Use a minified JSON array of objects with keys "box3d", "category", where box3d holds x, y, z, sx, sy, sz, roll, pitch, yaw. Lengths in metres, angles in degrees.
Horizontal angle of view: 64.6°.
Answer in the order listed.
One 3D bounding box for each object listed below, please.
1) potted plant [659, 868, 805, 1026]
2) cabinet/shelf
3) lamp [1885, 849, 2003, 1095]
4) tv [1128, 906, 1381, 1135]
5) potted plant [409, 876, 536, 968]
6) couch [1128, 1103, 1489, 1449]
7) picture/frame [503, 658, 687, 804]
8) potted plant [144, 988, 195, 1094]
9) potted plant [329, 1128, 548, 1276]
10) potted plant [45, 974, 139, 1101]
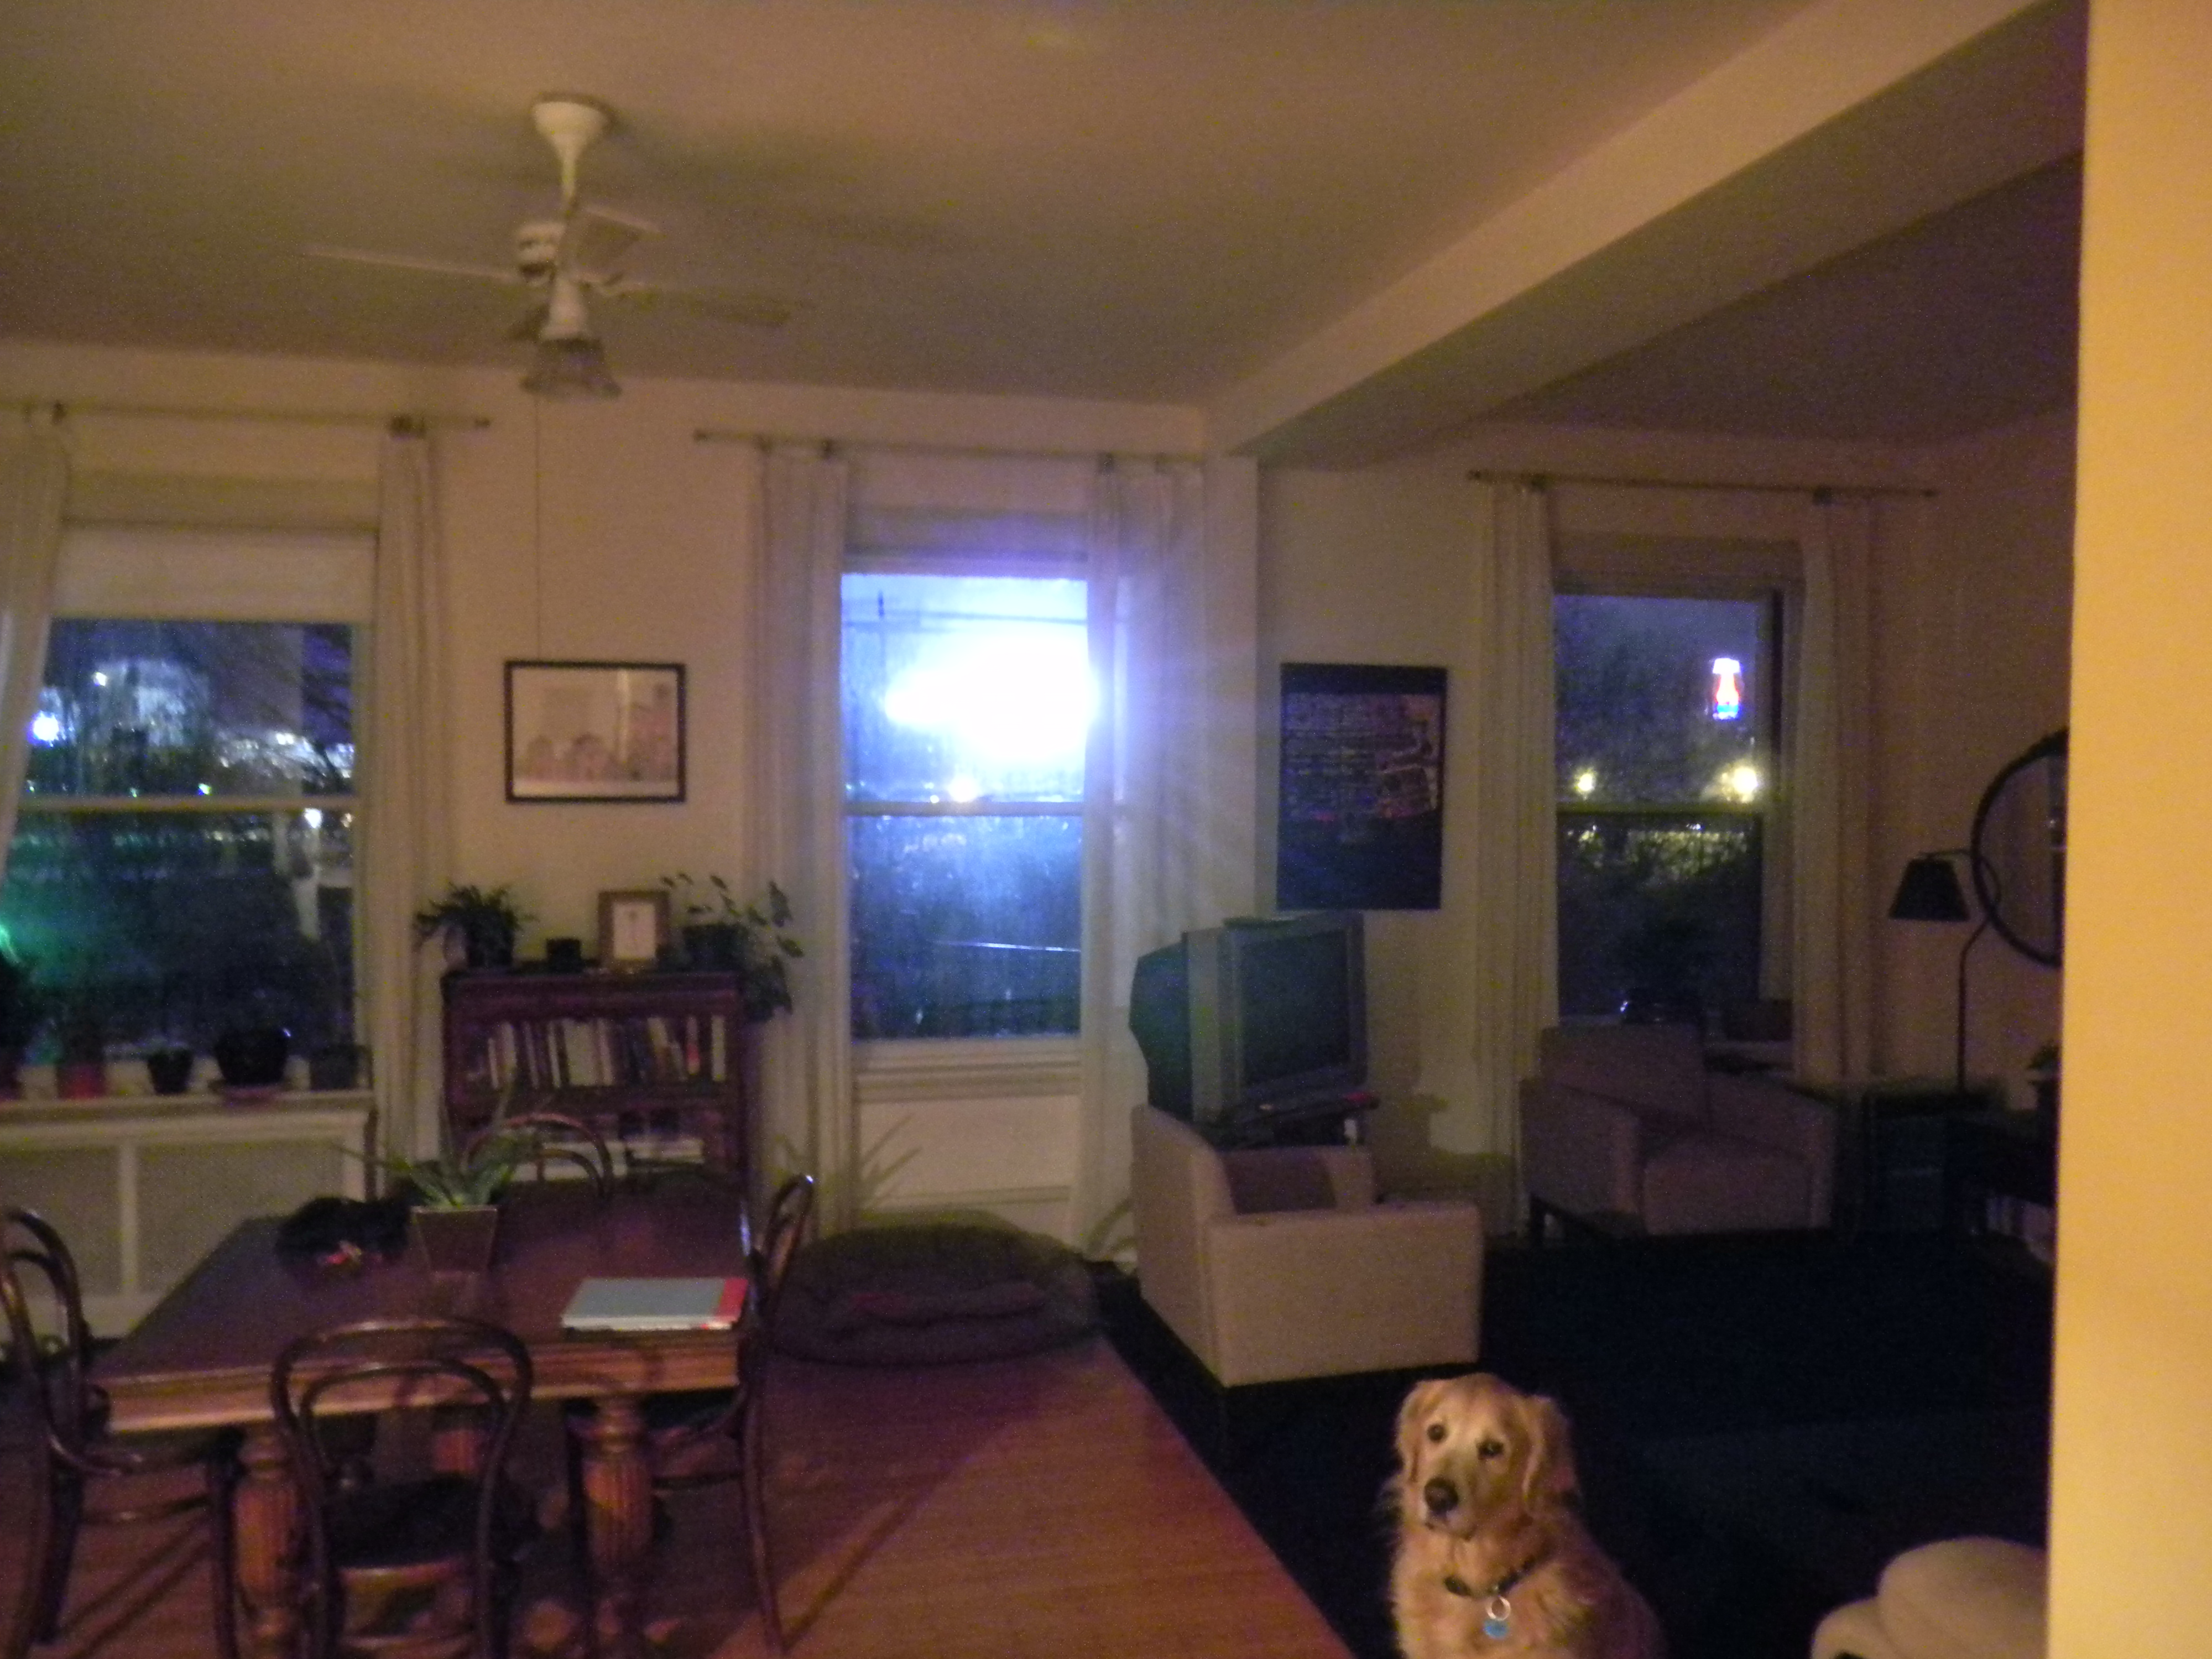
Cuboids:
[{"box3d":[-1.408,0.286,6.670,0.562,0.269,0.294,16,39,9],"category":"potted plant"},{"box3d":[-1.778,0.805,6.054,0.747,0.772,0.292,-1,0,-10],"category":"cabinet/shelf"},{"box3d":[3.556,0.584,7.440,0.362,0.950,0.752,-2,-1,26],"category":"lamp"},{"box3d":[0.550,0.716,6.729,0.610,0.868,0.871,-2,1,43],"category":"tv"},{"box3d":[-2.297,0.320,6.325,0.305,0.282,0.306,1,0,-32],"category":"potted plant"},{"box3d":[0.577,1.301,5.767,0.863,0.733,1.172,-1,0,-13],"category":"couch"},{"box3d":[-1.956,-0.381,6.595,0.508,0.444,0.037,1,-5,-9],"category":"picture/frame"},{"box3d":[-3.436,0.766,6.456,0.162,0.396,0.248,-1,-1,-29],"category":"potted plant"},{"box3d":[-1.695,0.937,4.500,0.452,0.328,0.464,-2,-6,-3],"category":"potted plant"},{"box3d":[-3.723,0.749,6.430,0.271,0.432,0.190,-1,-1,-22],"category":"potted plant"}]
